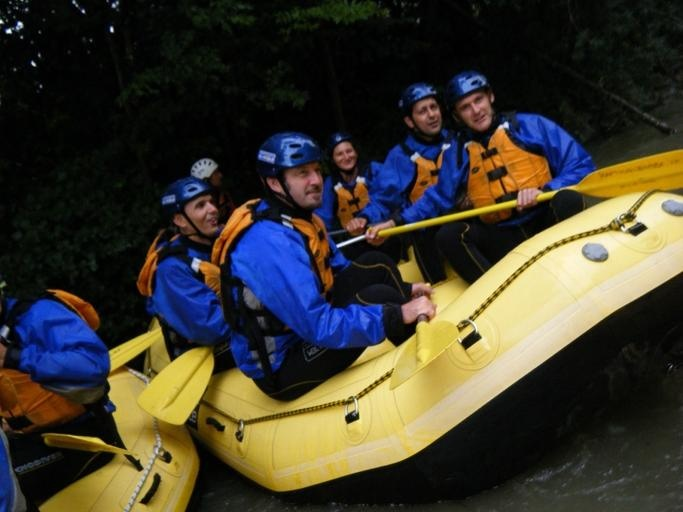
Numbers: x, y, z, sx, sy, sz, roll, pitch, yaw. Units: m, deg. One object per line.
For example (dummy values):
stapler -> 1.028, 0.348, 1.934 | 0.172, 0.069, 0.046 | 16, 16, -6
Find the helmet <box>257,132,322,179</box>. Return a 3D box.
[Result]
helmet -> -0.345, -0.682, 4.262 | 0.308, 0.264, 0.284 | 6, 21, 18

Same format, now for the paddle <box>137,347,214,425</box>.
paddle -> -1.096, 0.891, 4.507 | 0.277, 0.099, 0.697 | 23, 47, 12

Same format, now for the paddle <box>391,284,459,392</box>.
paddle -> 0.441, 0.478, 3.698 | 0.267, 0.105, 0.464 | -36, 25, 18

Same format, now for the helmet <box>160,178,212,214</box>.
helmet -> -1.240, -0.527, 5.222 | 0.280, 0.361, 0.253 | 32, 22, 21
